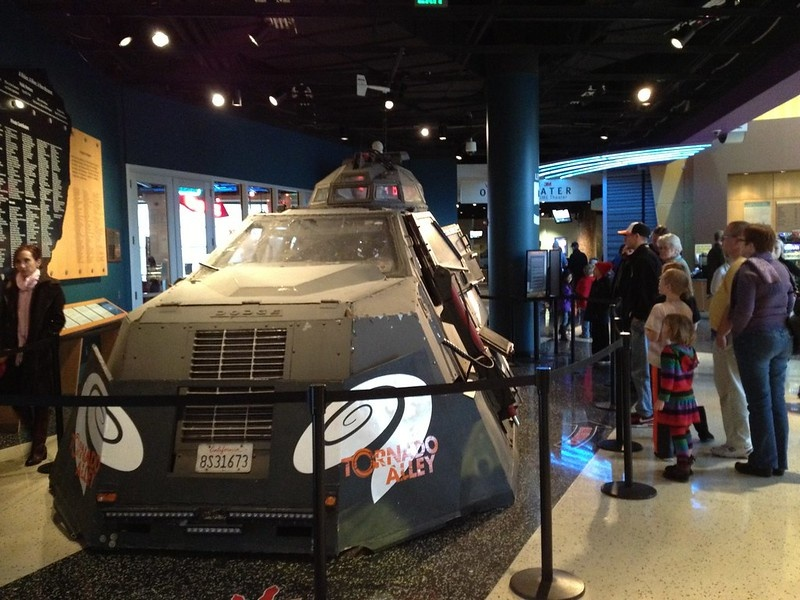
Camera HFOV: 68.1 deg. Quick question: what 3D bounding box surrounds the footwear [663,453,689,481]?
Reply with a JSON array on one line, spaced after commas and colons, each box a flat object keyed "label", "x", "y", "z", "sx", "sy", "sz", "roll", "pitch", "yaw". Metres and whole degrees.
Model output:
[{"label": "footwear", "x": 2.385, "y": 1.430, "z": 5.114, "sx": 0.127, "sy": 0.227, "sz": 0.316, "roll": 0, "pitch": 4, "yaw": -9}]

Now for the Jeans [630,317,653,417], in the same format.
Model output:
[{"label": "Jeans", "x": 2.668, "y": 0.730, "z": 6.530, "sx": 0.254, "sy": 1.219, "sz": 0.313, "roll": 2, "pitch": 8, "yaw": 26}]

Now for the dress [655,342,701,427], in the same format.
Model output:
[{"label": "dress", "x": 2.375, "y": 0.734, "z": 5.055, "sx": 0.225, "sy": 0.855, "sz": 0.264, "roll": 0, "pitch": 1, "yaw": 22}]

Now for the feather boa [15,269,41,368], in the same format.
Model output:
[{"label": "feather boa", "x": -3.778, "y": 0.172, "z": 5.965, "sx": 0.279, "sy": 0.896, "sz": 0.117, "roll": 4, "pitch": -9, "yaw": 33}]

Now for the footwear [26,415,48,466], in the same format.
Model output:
[{"label": "footwear", "x": -3.565, "y": 1.318, "z": 5.773, "sx": 0.219, "sy": 0.468, "sz": 0.392, "roll": -6, "pitch": 9, "yaw": -33}]

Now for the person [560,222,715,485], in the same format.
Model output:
[{"label": "person", "x": 2.581, "y": 0.562, "z": 5.559, "sx": 0.507, "sy": 1.767, "sz": 1.449, "roll": 3, "pitch": 8, "yaw": 27}]

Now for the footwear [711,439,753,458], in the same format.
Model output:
[{"label": "footwear", "x": 3.060, "y": 1.365, "z": 5.443, "sx": 0.299, "sy": 0.152, "sz": 0.117, "roll": 3, "pitch": 3, "yaw": 15}]

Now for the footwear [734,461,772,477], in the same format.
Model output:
[{"label": "footwear", "x": 3.024, "y": 1.444, "z": 5.080, "sx": 0.286, "sy": 0.118, "sz": 0.103, "roll": 10, "pitch": 17, "yaw": 38}]

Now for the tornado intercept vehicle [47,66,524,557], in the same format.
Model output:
[{"label": "tornado intercept vehicle", "x": -0.621, "y": 0.010, "z": 6.298, "sx": 3.631, "sy": 3.101, "sz": 5.239, "roll": -2, "pitch": 3, "yaw": 13}]
